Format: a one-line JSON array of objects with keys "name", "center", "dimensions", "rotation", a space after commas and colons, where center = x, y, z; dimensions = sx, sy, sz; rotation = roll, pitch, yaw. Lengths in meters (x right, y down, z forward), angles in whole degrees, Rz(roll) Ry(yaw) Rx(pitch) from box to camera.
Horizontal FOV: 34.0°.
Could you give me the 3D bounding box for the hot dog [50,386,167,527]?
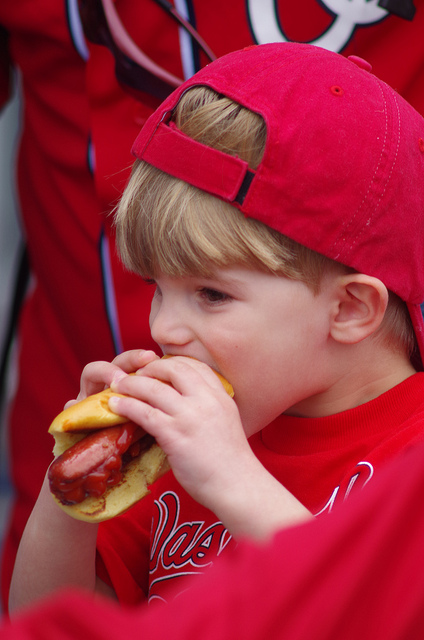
[{"name": "hot dog", "center": [-0.213, 0.285, 1.444], "dimensions": [0.204, 0.116, 0.313], "rotation": [18, 64, 22]}]
